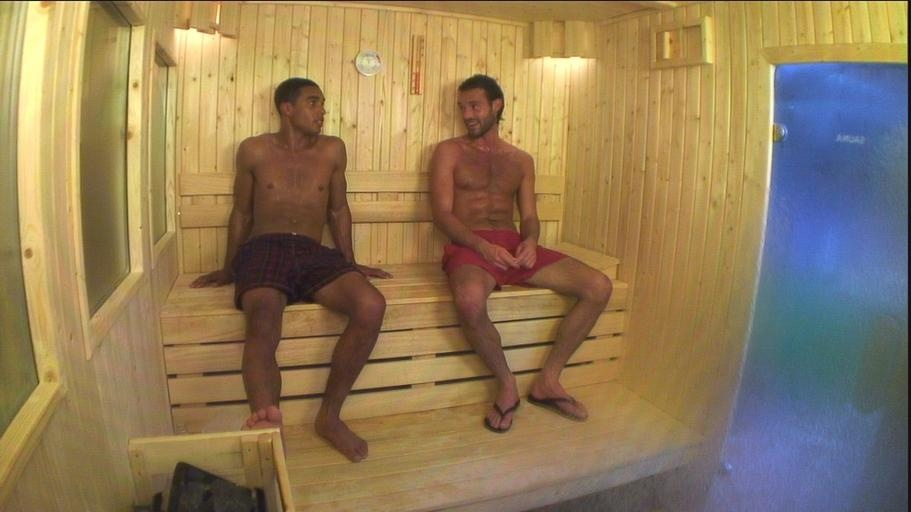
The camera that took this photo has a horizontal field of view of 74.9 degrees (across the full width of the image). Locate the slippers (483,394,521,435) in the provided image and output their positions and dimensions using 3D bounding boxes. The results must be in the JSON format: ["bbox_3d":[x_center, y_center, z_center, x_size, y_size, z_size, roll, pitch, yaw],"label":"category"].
[{"bbox_3d":[0.168,0.562,2.152,0.131,0.058,0.274,-2,8,-2],"label":"slippers"}]

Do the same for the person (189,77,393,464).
[{"bbox_3d":[-0.507,0.018,2.054,0.676,1.193,0.686,-7,15,-21],"label":"person"}]
